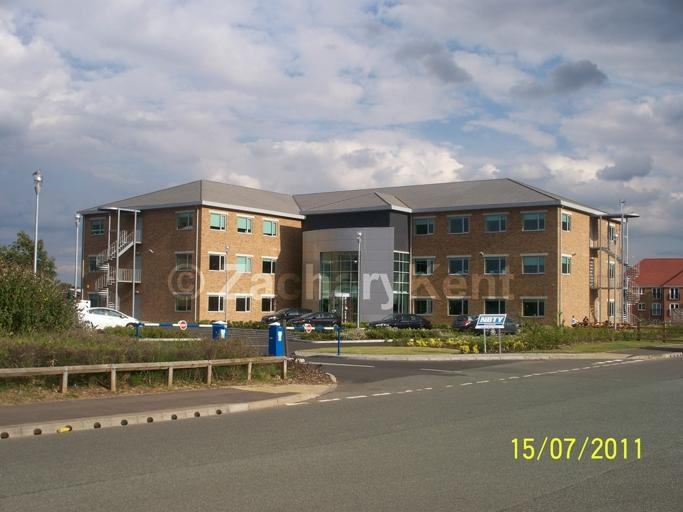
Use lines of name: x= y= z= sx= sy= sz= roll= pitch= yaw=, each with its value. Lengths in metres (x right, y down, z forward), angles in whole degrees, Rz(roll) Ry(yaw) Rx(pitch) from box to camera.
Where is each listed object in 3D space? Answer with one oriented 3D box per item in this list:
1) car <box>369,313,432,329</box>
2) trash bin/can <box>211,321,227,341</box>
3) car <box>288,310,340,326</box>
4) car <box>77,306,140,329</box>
car: x=3.968 y=4.135 z=51.097 sx=2.009 sy=0.909 sz=5.704 roll=2 pitch=-2 yaw=29
trash bin/can: x=-3.853 y=2.338 z=24.954 sx=0.528 sy=0.777 sz=0.541 roll=1 pitch=-3 yaw=-7
car: x=-1.475 y=4.050 z=52.000 sx=2.734 sy=1.002 sz=1.235 roll=5 pitch=-9 yaw=-31
car: x=-11.987 y=3.174 z=41.131 sx=2.367 sy=1.160 sz=7.971 roll=3 pitch=-2 yaw=-15
